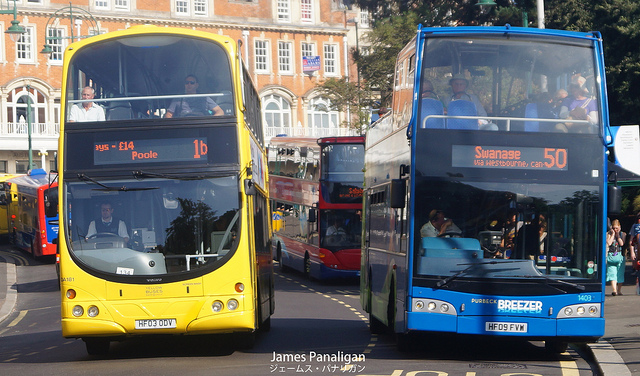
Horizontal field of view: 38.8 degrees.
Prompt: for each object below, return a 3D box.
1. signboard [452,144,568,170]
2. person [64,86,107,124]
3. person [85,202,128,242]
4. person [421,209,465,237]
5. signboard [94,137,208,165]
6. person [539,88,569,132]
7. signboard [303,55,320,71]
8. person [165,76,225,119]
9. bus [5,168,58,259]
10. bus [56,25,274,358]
[{"bbox_3d":[4.124,-0.657,19.786,2.447,0.533,0.156,-1,3,3],"label":"signboard"},{"bbox_3d":[-5.278,-1.802,20.559,1.080,0.887,0.547,-1,-3,-7],"label":"person"},{"bbox_3d":[-4.695,0.790,20.448,1.194,0.986,0.648,0,-2,-2],"label":"person"},{"bbox_3d":[2.589,0.852,19.611,0.599,0.728,0.290,-13,6,10],"label":"person"},{"bbox_3d":[-3.831,-0.834,20.439,3.224,0.725,0.126,0,0,13],"label":"signboard"},{"bbox_3d":[5.168,-1.715,20.189,0.661,1.023,0.290,16,-5,6],"label":"person"},{"bbox_3d":[-0.756,-10.922,79.815,1.261,1.649,0.230,4,9,14],"label":"signboard"},{"bbox_3d":[-2.928,-1.971,20.713,1.444,1.062,0.764,-6,3,-9],"label":"person"},{"bbox_3d":[-15.548,1.411,48.805,1.189,4.587,12.859,-3,3,-24],"label":"bus"},{"bbox_3d":[-3.746,-0.188,20.597,4.242,6.847,2.086,-2,3,-12],"label":"bus"}]
